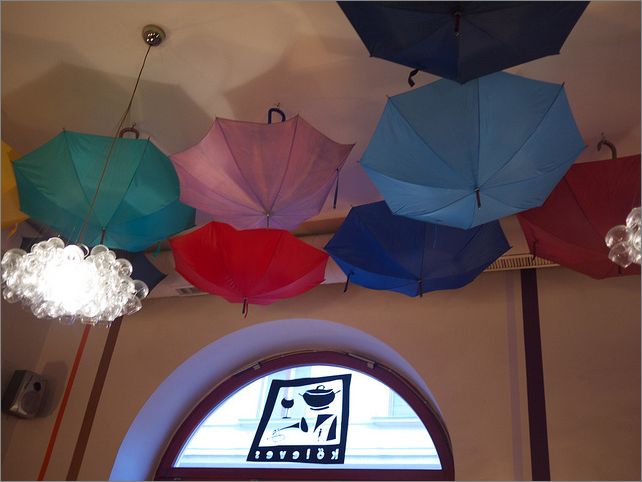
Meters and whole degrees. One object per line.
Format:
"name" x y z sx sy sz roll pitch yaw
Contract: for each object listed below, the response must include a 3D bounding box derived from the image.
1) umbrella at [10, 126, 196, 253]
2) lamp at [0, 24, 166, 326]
"umbrella" -1.804 -0.599 4.452 0.995 0.597 1.145 11 -43 -6
"lamp" -1.856 -0.508 4.328 1.000 2.364 0.854 2 -26 12
